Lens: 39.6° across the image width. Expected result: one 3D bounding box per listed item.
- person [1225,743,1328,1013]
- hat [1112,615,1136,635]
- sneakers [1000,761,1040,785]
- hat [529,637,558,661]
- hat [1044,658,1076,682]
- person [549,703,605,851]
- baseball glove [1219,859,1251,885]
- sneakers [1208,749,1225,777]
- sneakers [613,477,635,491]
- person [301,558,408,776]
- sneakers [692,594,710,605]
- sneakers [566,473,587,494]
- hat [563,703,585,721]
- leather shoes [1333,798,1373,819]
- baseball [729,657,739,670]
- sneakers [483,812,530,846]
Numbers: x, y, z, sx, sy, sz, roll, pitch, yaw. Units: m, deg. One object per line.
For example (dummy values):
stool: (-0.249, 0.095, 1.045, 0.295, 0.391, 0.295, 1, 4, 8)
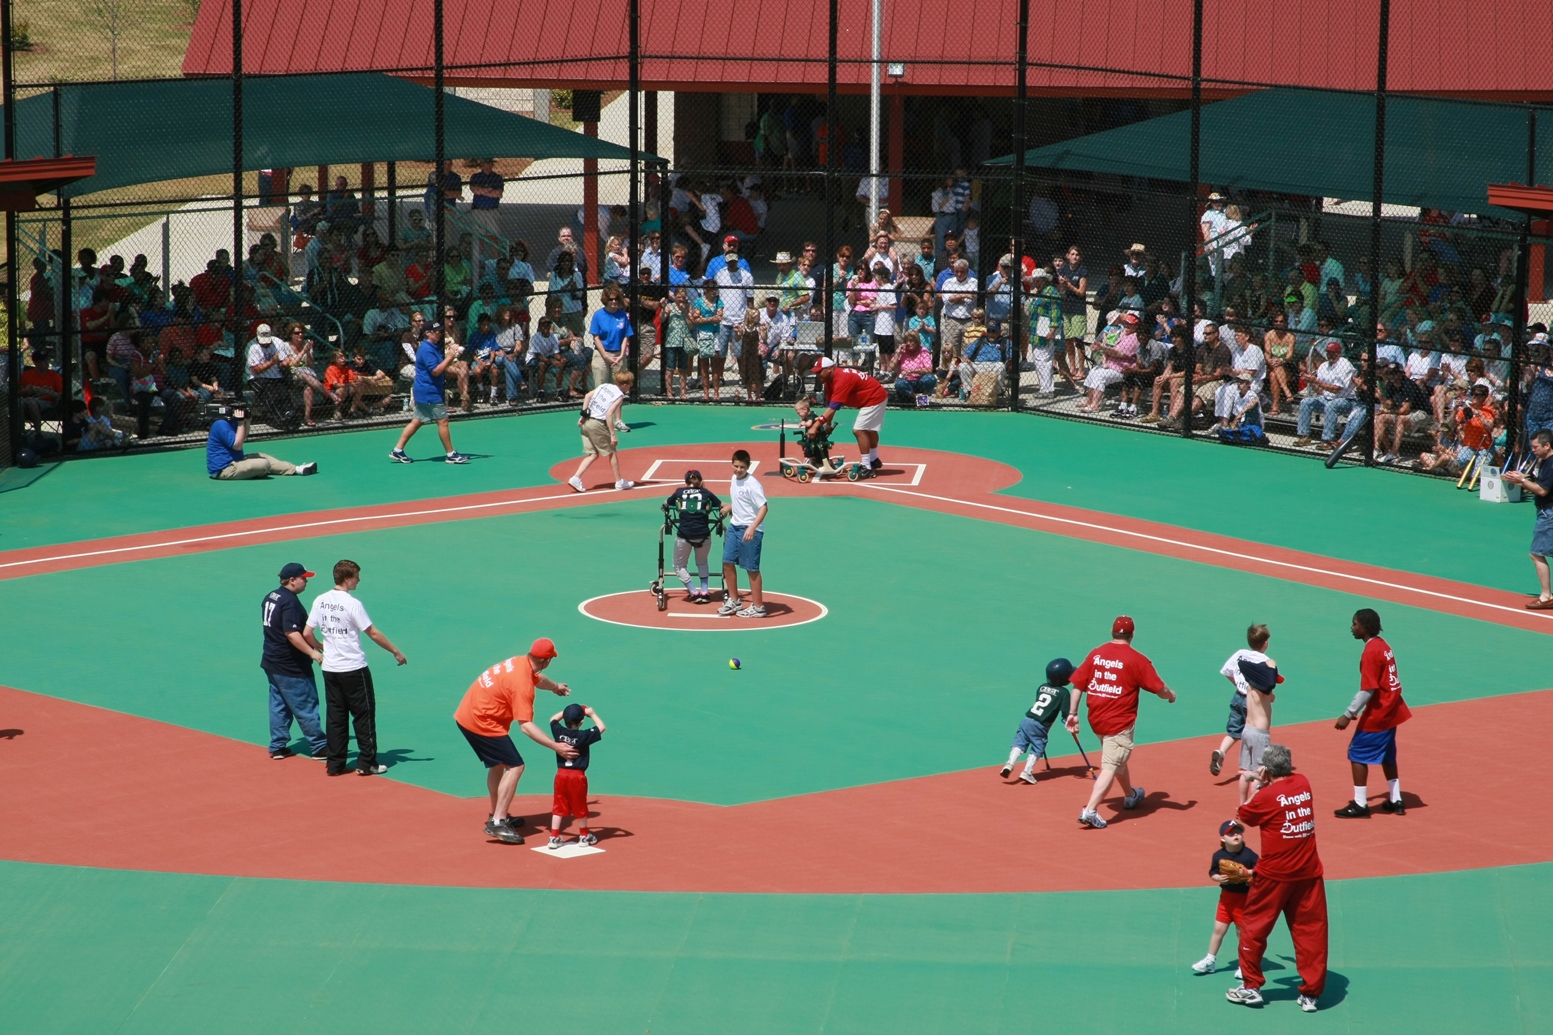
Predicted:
person: (5.698, 4.046, 24.692, 1.067, 2.747, 0.860, 0, 0, 5)
hat: (4.445, 1.404, 27.665, 0.274, 0.230, 0.392, 7, 24, 15)
sneakers: (3.200, 3.405, 28.533, 0.534, 0.228, 0.180, 0, 7, 0)
hat: (-2.904, 1.654, 26.878, 0.266, 0.243, 0.392, 8, 21, 5)
hat: (3.686, 1.985, 28.049, 0.249, 0.277, 0.341, 9, 43, 25)
person: (-2.501, 3.178, 26.867, 0.614, 1.818, 0.731, 0, 9, -8)
baseball glove: (5.154, 3.990, 24.307, 0.252, 0.066, 0.256, 13, -25, 13)
sneakers: (5.702, 3.253, 28.080, 0.146, 0.436, 0.172, 4, 11, 28)
sneakers: (-2.784, -0.563, 39.696, 0.331, 0.149, 0.204, -11, -5, -7)
person: (-5.646, 1.985, 28.521, 0.943, 2.854, 1.289, -4, 10, -28)
sneakers: (-1.189, 1.297, 33.885, 0.311, 0.144, 0.182, -2, 9, -20)
sneakers: (-3.645, -0.593, 39.482, 0.154, 0.200, 0.428, 51, 8, 28)
hat: (-2.482, 2.413, 26.542, 0.224, 0.168, 0.224, -36, -13, -24)
leather shoes: (7.422, 3.762, 27.823, 0.410, 0.195, 0.209, 2, 5, 10)
baseball: (-0.603, 2.169, 31.515, 0.129, 0.155, 0.141, -10, 40, -14)
sneakers: (-3.410, 3.903, 27.048, 0.642, 0.293, 0.233, 6, 22, -24)
